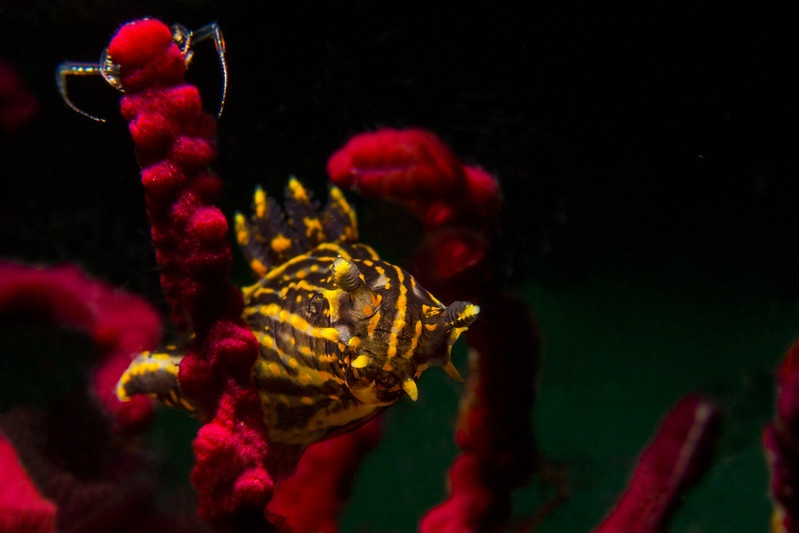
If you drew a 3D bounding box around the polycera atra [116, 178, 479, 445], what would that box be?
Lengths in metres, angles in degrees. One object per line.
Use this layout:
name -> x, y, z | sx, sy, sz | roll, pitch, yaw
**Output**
polycera atra -> -0.185, 0.092, 1.567 | 0.371, 0.290, 0.573 | -27, 18, -30
